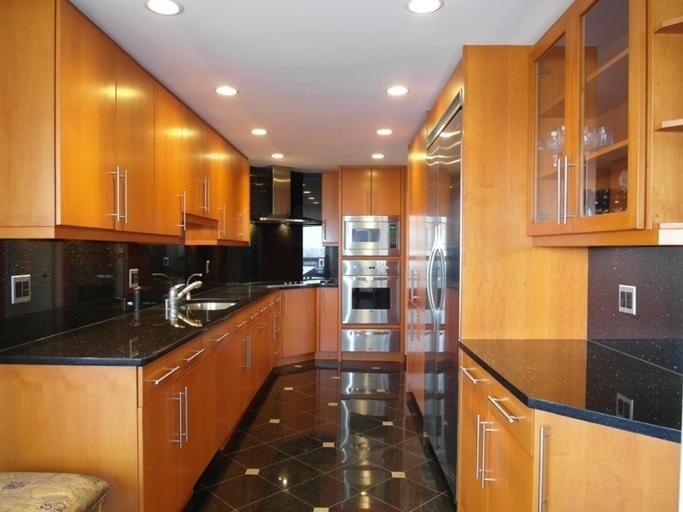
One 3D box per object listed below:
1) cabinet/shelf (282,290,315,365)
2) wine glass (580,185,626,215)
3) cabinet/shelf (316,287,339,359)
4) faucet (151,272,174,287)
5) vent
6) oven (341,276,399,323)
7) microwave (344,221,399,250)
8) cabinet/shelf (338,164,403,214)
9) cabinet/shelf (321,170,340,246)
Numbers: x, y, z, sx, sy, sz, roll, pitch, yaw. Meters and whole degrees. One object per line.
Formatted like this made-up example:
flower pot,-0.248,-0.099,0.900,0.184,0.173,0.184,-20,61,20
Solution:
cabinet/shelf,-0.464,0.743,6.171,0.121,0.814,0.496,5,7,40
wine glass,1.163,-0.233,2.496,0.096,0.121,0.175,1,2,2
cabinet/shelf,-0.165,0.735,6.329,0.223,0.800,0.079,-1,6,-12
faucet,-1.366,0.175,4.309,0.106,0.103,0.061,-2,5,-7
vent,-0.649,-0.641,6.446,0.725,0.478,0.375,1,11,-30
oven,0.317,0.470,6.476,0.861,0.608,0.458,0,-5,1
microwave,0.316,-0.229,6.272,0.631,0.407,0.321,0,-2,0
cabinet/shelf,0.302,-0.737,6.427,0.747,0.536,0.261,-2,7,-14
cabinet/shelf,-0.127,-0.581,6.650,0.194,0.853,0.083,2,6,17
